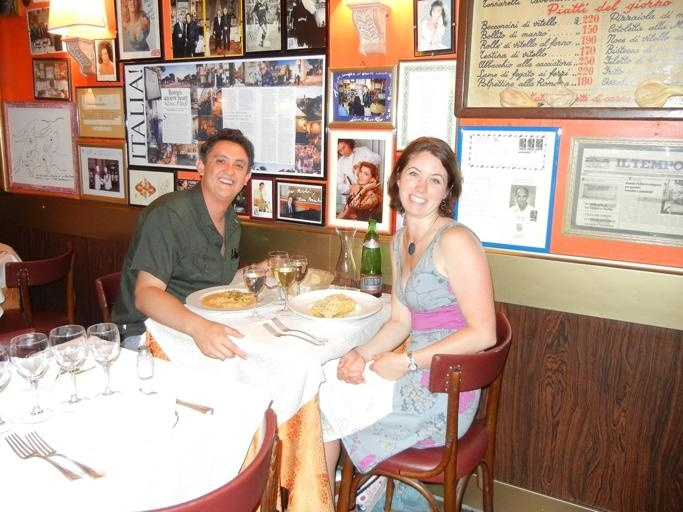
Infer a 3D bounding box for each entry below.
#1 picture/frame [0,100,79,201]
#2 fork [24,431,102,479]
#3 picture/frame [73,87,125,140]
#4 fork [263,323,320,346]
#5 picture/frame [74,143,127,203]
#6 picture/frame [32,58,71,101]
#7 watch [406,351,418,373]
[{"bbox_3d":[-2.477,-0.894,4.114,0.758,0.966,0.066,-4,11,35],"label":"picture/frame"},{"bbox_3d":[-0.769,0.545,1.357,0.309,0.043,0.048,7,12,27],"label":"fork"},{"bbox_3d":[-1.841,-1.082,3.790,0.525,0.382,0.090,8,12,32],"label":"picture/frame"},{"bbox_3d":[-0.201,0.311,1.982,0.271,0.023,0.081,16,33,28],"label":"fork"},{"bbox_3d":[-1.860,-0.656,3.869,0.399,0.377,0.029,11,19,22],"label":"picture/frame"},{"bbox_3d":[-2.299,-1.389,3.938,0.417,0.326,0.014,6,11,23],"label":"picture/frame"},{"bbox_3d":[0.277,0.437,2.013,0.042,0.076,0.067,-11,-7,6],"label":"watch"}]
